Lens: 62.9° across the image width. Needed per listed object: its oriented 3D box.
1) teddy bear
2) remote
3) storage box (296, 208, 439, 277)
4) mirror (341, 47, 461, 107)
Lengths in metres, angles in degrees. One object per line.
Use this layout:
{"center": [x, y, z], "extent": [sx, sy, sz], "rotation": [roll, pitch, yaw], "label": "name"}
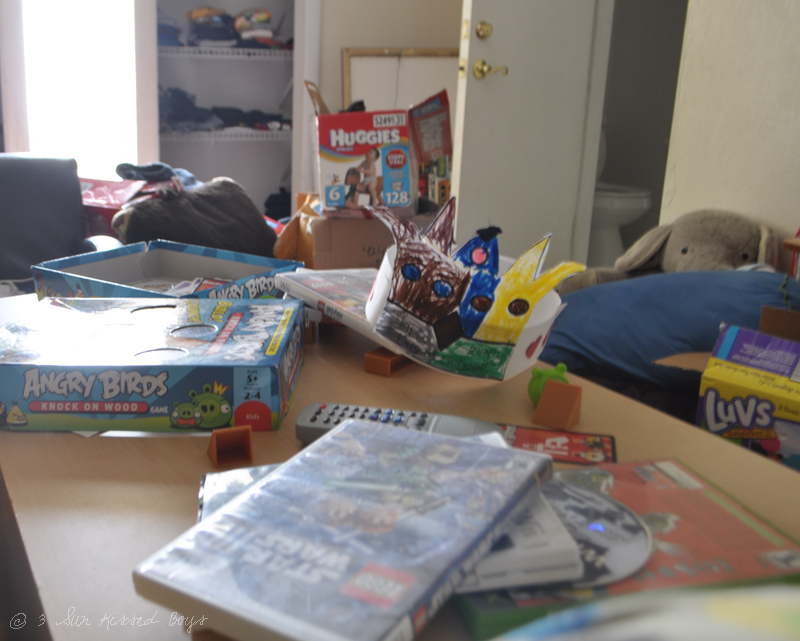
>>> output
{"center": [0.865, -0.215, 2.039], "extent": [0.459, 0.200, 0.361], "rotation": [-14, 4, 3], "label": "teddy bear"}
{"center": [-0.007, 0.110, 0.727], "extent": [0.188, 0.035, 0.084], "rotation": [7, 7, 5], "label": "remote"}
{"center": [-0.118, -0.193, 1.559], "extent": [0.261, 0.188, 0.145], "rotation": [-8, 17, -27], "label": "storage box"}
{"center": [0.004, -1.210, 3.276], "extent": [0.594, 0.304, 0.063], "rotation": [-3, 13, -17], "label": "mirror"}
